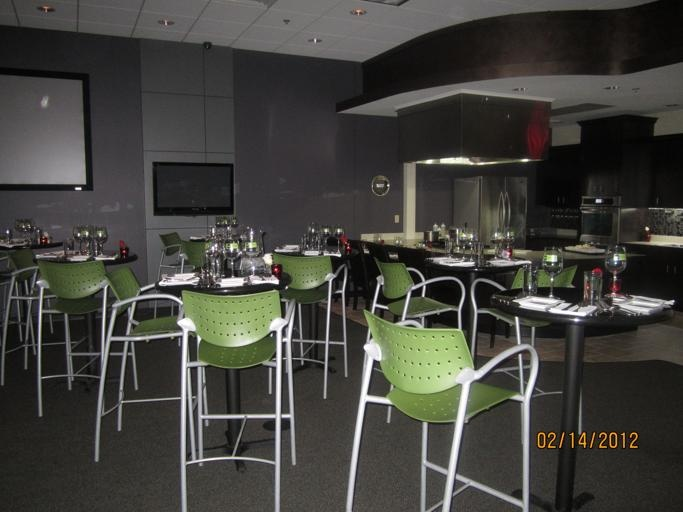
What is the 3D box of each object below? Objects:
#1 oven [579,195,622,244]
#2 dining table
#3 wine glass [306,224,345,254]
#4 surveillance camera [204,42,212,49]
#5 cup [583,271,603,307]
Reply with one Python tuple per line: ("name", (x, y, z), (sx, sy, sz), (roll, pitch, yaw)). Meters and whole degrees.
("oven", (4.211, -0.517, 8.886), (0.575, 0.824, 0.549), (3, -8, 14))
("dining table", (1.417, 0.823, 3.865), (1.145, 1.481, 1.193), (-1, 9, -5))
("wine glass", (-0.255, -0.157, 6.218), (0.329, 0.189, 0.497), (0, 9, -4))
("surveillance camera", (-1.878, -2.906, 7.457), (0.111, 0.076, 0.093), (-4, 7, -15))
("cup", (1.623, 0.220, 3.480), (0.121, 0.223, 0.114), (6, -9, 1))
